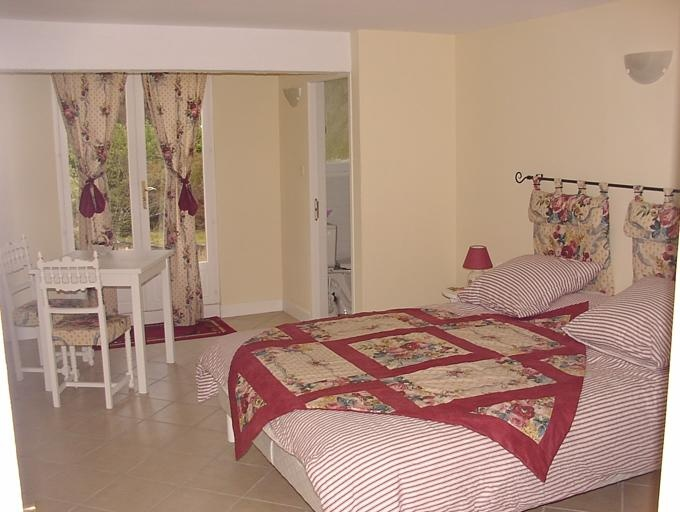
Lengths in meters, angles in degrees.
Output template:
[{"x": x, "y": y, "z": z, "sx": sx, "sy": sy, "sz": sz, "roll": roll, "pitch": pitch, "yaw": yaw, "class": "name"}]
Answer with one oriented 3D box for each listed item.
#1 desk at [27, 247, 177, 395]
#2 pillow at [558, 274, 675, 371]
[{"x": -2.060, "y": 0.472, "z": 4.875, "sx": 1.305, "sy": 1.266, "sz": 1.173, "roll": 0, "pitch": 9, "yaw": 7, "class": "desk"}, {"x": 1.589, "y": 0.391, "z": 3.062, "sx": 0.530, "sy": 0.141, "sz": 0.502, "roll": -28, "pitch": 25, "yaw": -21, "class": "pillow"}]
